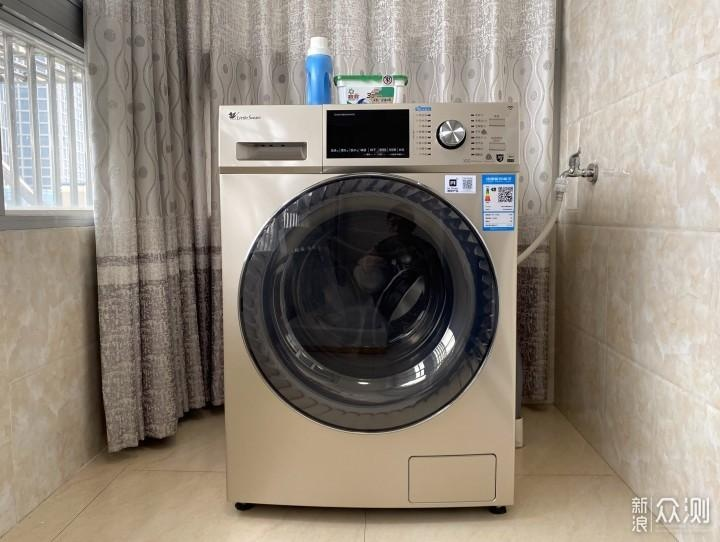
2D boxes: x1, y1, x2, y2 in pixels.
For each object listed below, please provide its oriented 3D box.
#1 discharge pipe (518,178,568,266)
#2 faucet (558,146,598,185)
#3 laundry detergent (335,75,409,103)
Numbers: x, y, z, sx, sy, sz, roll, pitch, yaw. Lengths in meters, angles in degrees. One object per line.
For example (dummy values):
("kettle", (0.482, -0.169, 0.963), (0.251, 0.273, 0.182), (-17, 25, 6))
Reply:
("discharge pipe", (0.705, -0.182, 2.262), (0.173, 0.361, 0.525), (1, 9, 19))
("faucet", (0.833, -0.391, 2.233), (0.139, 0.141, 0.087), (-1, -2, 28))
("laundry detergent", (0.035, -0.584, 1.875), (0.235, 0.097, 0.103), (-2, 8, -3))
